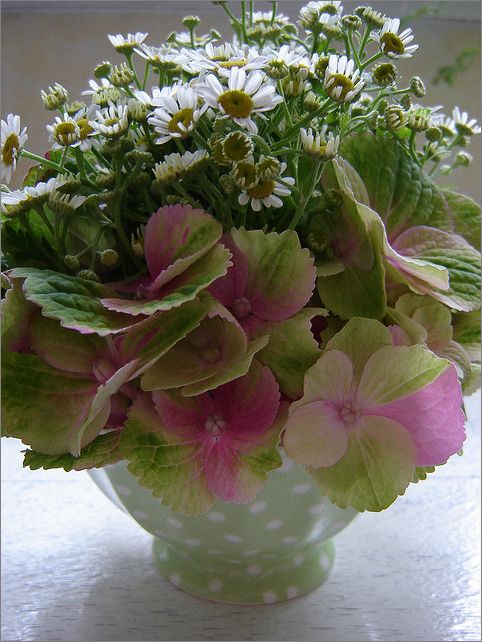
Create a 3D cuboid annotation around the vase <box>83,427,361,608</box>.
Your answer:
[{"bbox_3d":[0.008,0.144,0.447,0.165,0.071,0.164,-1,1,33],"label":"vase"}]
